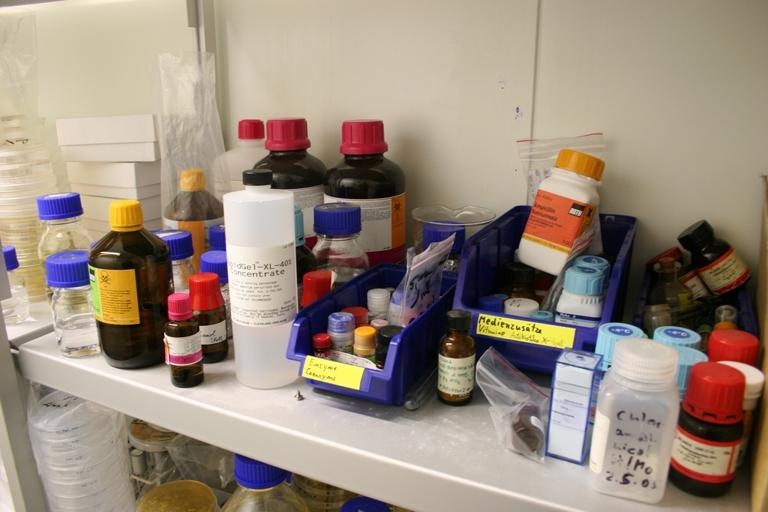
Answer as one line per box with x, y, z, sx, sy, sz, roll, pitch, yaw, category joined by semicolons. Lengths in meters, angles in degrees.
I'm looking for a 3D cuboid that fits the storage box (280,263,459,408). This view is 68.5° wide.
0.007;0.172;1.198;0.220;0.137;0.342;13;33;26;storage box

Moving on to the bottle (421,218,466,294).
0.116;-0.002;1.286;0.113;0.111;0.107;-1;20;-1;bottle

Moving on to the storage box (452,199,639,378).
0.362;0.045;1.230;0.303;0.215;0.459;13;36;27;storage box

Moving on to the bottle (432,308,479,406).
0.142;0.192;1.101;0.080;0.189;0.065;-4;16;-14;bottle
